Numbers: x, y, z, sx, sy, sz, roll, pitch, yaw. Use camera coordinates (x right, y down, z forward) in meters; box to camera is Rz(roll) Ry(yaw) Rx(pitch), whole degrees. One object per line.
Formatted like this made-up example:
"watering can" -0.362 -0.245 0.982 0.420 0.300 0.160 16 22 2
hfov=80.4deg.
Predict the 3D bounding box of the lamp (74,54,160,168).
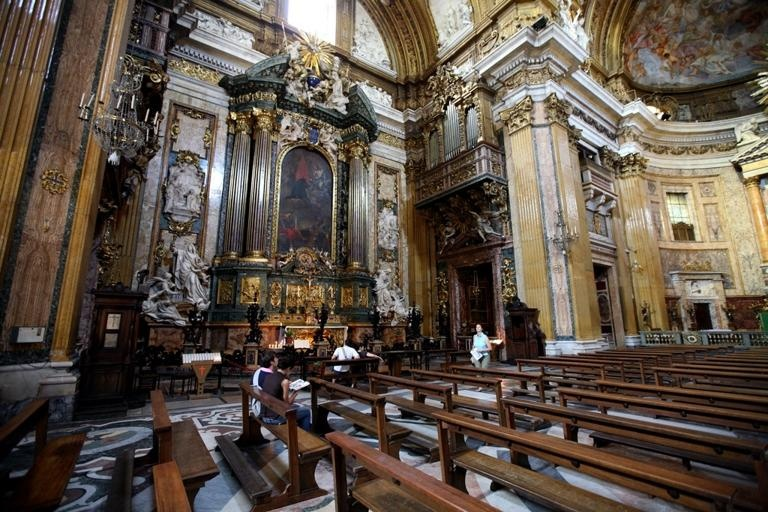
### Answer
"lamp" -4.712 -2.630 8.189 1.241 2.088 1.219 14 2 27

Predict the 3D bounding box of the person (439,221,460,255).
"person" 2.383 -0.709 17.215 0.236 1.205 0.975 6 -14 -31

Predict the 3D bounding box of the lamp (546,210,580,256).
"lamp" 5.321 -0.657 13.541 0.800 1.234 0.806 -8 0 10

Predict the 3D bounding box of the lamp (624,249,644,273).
"lamp" 9.594 0.181 17.492 0.550 0.954 0.260 -6 -13 21

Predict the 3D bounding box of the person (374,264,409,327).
"person" 0.181 1.374 17.114 1.511 2.435 0.512 8 -16 -38

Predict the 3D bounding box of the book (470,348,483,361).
"book" 2.199 2.406 10.812 0.080 0.289 0.281 13 -62 -48

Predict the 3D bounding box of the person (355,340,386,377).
"person" -0.347 2.554 11.161 0.669 0.673 1.035 6 -15 -25

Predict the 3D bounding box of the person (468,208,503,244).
"person" 3.484 -1.024 15.506 1.148 1.035 0.299 -9 -9 44
